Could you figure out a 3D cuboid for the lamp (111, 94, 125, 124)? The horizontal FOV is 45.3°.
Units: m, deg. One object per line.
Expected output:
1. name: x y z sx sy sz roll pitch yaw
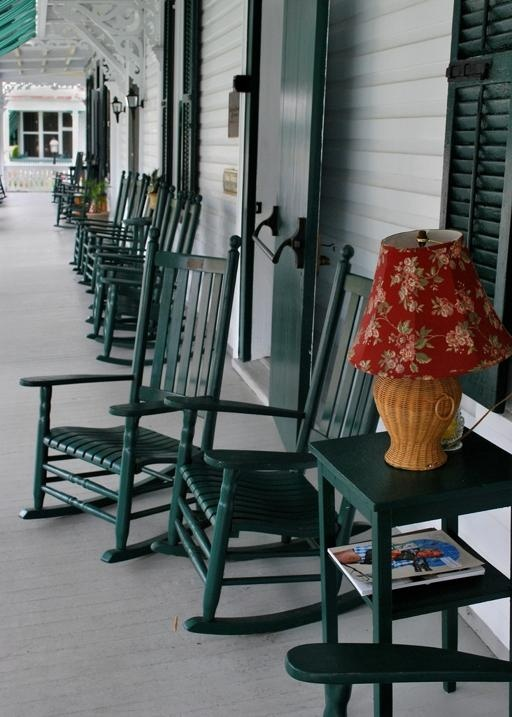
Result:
1. lamp: -2.349 -4.236 10.437 0.207 0.489 0.689 -3 14 -12
